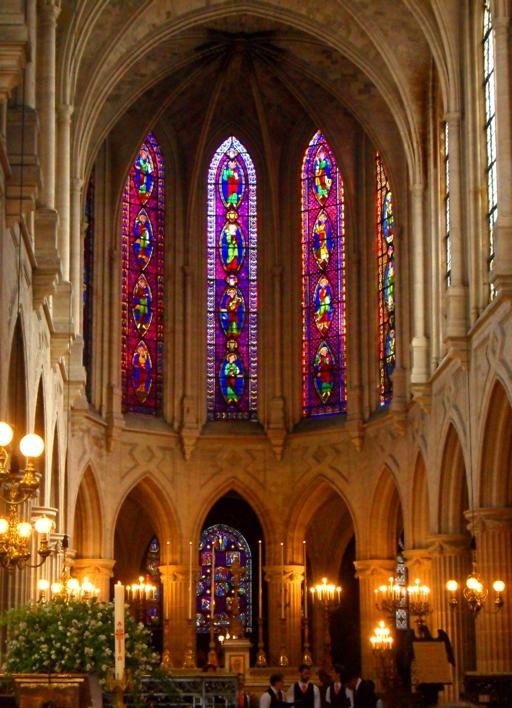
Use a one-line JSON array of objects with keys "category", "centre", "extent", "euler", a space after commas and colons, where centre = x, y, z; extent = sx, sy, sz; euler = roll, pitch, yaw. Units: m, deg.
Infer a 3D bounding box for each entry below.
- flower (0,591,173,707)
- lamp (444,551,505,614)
[{"category": "flower", "centre": [-1.690, 2.617, 15.451], "extent": [1.202, 0.887, 1.067], "euler": [-1, -5, 14]}, {"category": "lamp", "centre": [2.896, 2.922, 21.857], "extent": [0.808, 0.852, 0.845], "euler": [0, -18, 2]}]
